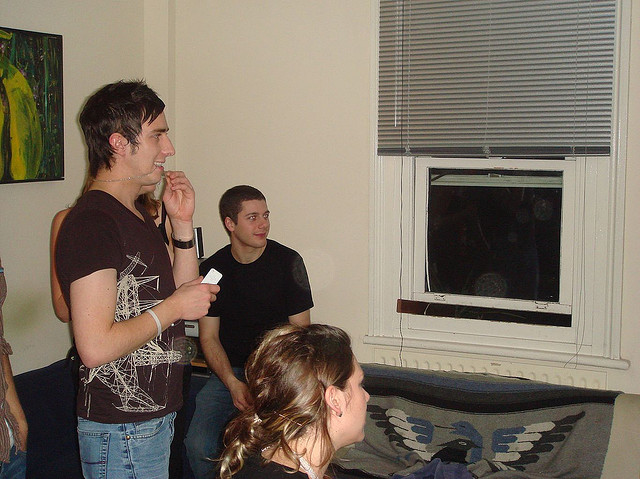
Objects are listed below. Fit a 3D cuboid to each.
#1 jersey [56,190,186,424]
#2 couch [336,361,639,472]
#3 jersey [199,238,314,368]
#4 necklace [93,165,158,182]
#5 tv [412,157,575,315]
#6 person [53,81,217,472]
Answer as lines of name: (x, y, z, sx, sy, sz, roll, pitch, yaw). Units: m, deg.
jersey: (-0.648, 0.234, 2.026, 0.344, 0.769, 0.621, -7, -6, 11)
couch: (0.736, 0.817, 2.559, 1.238, 0.454, 0.542, 3, 1, 16)
jersey: (-0.354, 0.356, 3.159, 0.670, 0.708, 0.378, -3, 2, 20)
necklace: (-0.651, -0.223, 1.956, 0.201, 0.055, 0.036, 2, 1, -20)
tv: (1.008, -0.042, 3.261, 0.800, 0.803, 0.088, 3, 7, 23)
person: (-0.631, 0.127, 2.047, 0.515, 1.162, 0.595, 2, 1, -19)
